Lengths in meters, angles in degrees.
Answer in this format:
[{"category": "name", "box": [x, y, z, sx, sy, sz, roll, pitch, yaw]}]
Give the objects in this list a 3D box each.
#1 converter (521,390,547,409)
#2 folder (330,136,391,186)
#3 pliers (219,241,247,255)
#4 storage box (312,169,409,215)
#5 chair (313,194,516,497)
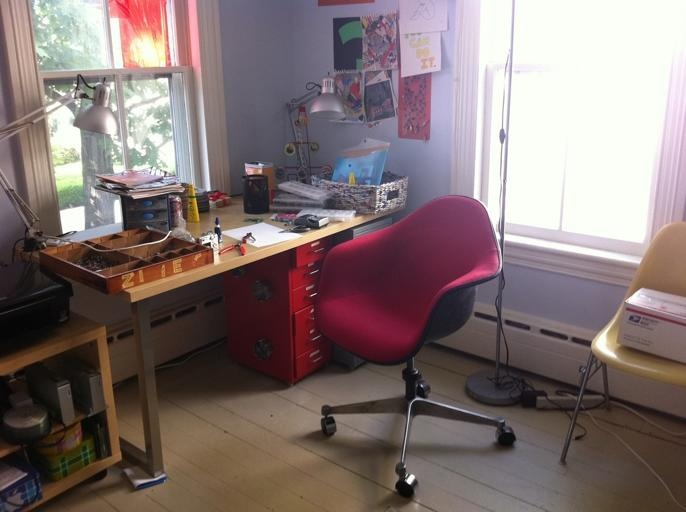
[{"category": "converter", "box": [1.011, 0.745, 2.939, 0.131, 0.092, 0.074, 0, 4, -2]}, {"category": "folder", "box": [0.102, -0.519, 3.184, 0.305, 0.347, 0.014, -11, 47, -19]}, {"category": "pliers", "box": [-0.509, -0.036, 2.602, 0.126, 0.023, 0.149, -5, 21, -9]}, {"category": "storage box", "box": [0.091, -0.346, 3.186, 0.319, 0.124, 0.325, 7, 14, 28]}, {"category": "chair", "box": [0.334, 0.452, 2.775, 0.801, 1.121, 0.928, -18, 27, -35]}]
